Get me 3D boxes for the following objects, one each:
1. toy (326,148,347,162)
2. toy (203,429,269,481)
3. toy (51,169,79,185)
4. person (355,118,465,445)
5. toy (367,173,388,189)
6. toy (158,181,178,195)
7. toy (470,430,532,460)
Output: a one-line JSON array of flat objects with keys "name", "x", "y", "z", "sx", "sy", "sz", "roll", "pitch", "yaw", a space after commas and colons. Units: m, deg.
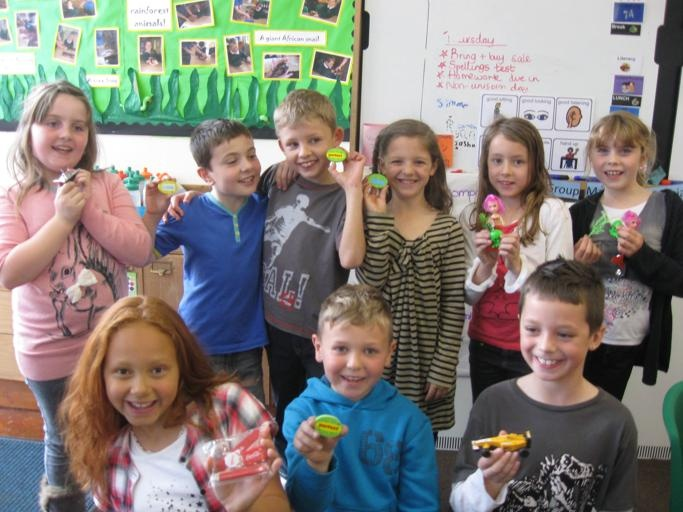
[{"name": "toy", "x": -0.018, "y": -0.431, "z": 2.696, "sx": 0.088, "sy": 0.060, "sz": 0.067, "roll": 5, "pitch": 13, "yaw": 25}, {"name": "toy", "x": -0.342, "y": 0.644, "z": 2.040, "sx": 0.177, "sy": 0.061, "sz": 0.146, "roll": -10, "pitch": 57, "yaw": -3}, {"name": "toy", "x": -1.125, "y": -0.317, "z": 2.584, "sx": 0.087, "sy": 0.034, "sz": 0.079, "roll": -18, "pitch": 8, "yaw": 40}, {"name": "person", "x": 0.308, "y": 0.315, "z": 2.898, "sx": 0.512, "sy": 1.824, "sz": 0.425, "roll": 0, "pitch": 14, "yaw": 2}, {"name": "toy", "x": 0.153, "y": -0.319, "z": 2.719, "sx": 0.094, "sy": 0.067, "sz": 0.079, "roll": 10, "pitch": 16, "yaw": 42}, {"name": "toy", "x": -0.750, "y": -0.292, "z": 2.721, "sx": 0.088, "sy": 0.072, "sz": 0.062, "roll": -2, "pitch": 12, "yaw": -6}, {"name": "toy", "x": 0.540, "y": 0.628, "z": 2.144, "sx": 0.156, "sy": 0.068, "sz": 0.114, "roll": -5, "pitch": -1, "yaw": 12}]
